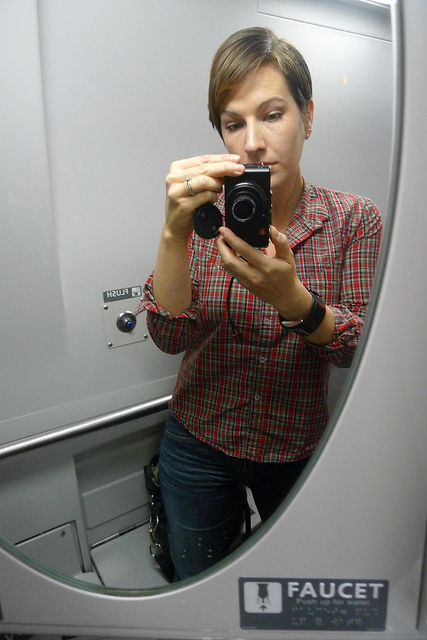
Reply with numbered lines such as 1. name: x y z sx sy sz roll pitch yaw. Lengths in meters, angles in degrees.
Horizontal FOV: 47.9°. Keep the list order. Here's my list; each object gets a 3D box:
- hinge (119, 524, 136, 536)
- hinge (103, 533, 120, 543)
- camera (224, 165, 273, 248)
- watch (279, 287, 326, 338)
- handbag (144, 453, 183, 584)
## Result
1. hinge: -0.217 0.532 1.220 0.046 0.011 0.009 -12 27 -34
2. hinge: -0.247 0.530 1.181 0.006 0.009 0.038 11 9 29
3. camera: 0.047 -0.160 0.669 0.064 0.114 0.065 2 35 8
4. watch: 0.146 -0.007 0.784 0.073 0.085 0.054 -21 -19 26
5. handbag: -0.130 0.464 1.129 0.069 0.196 0.141 -12 5 -11
